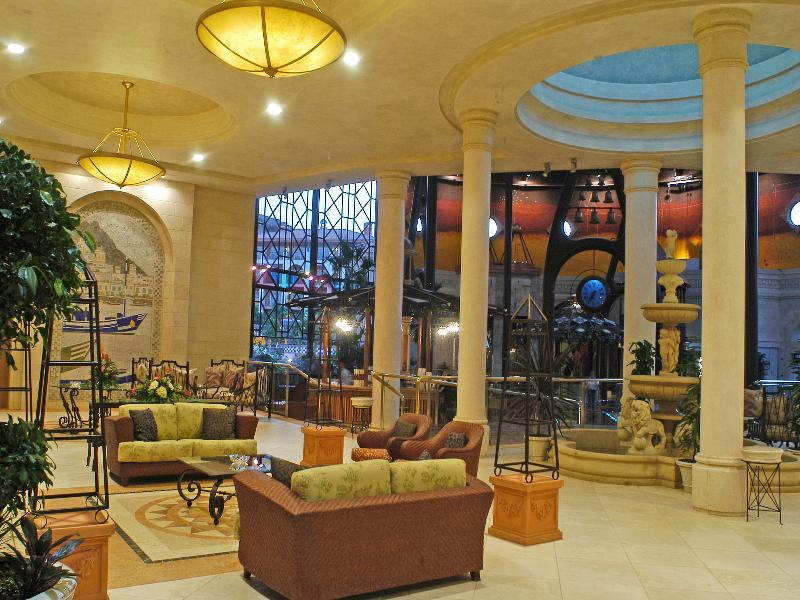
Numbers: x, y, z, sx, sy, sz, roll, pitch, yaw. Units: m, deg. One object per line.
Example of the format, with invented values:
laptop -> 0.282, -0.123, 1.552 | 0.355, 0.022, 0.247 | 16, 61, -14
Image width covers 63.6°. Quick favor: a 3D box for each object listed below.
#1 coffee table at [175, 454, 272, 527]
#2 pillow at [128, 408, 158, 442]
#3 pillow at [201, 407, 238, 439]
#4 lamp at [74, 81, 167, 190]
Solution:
coffee table -> -2.320, 2.207, 8.021 | 1.346, 0.659, 1.319 | 5, -6, -43
pillow -> -3.687, 1.793, 9.210 | 0.157, 0.406, 0.384 | -32, -23, 25
pillow -> -2.775, 1.881, 9.855 | 0.453, 0.435, 0.177 | 1, -20, -10
lamp -> -5.592, -3.409, 12.943 | 1.505, 1.820, 1.500 | 7, -16, -19
